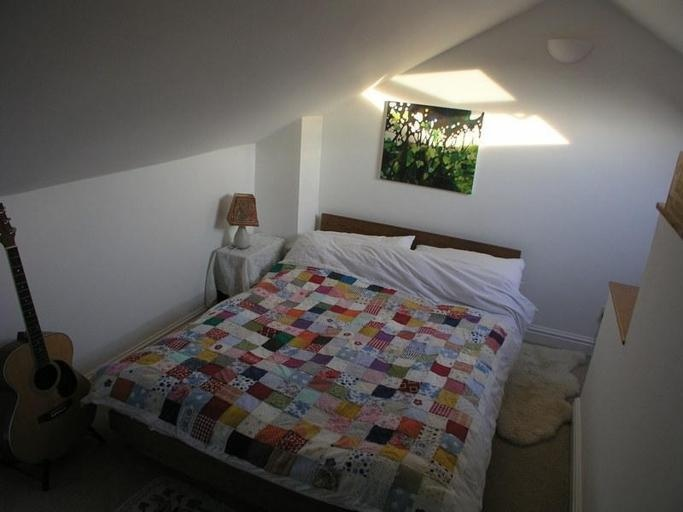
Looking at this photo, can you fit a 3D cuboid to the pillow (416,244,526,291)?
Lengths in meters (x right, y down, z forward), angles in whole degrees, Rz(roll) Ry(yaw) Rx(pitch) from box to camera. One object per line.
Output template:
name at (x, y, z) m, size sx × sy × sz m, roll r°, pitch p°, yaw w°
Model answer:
pillow at (1.086, 0.019, 3.797) m, size 0.570 × 0.153 × 0.393 m, roll 9°, pitch 27°, yaw 22°

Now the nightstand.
nightstand at (-0.856, 0.161, 4.208) m, size 0.441 × 0.438 × 0.639 m, roll 25°, pitch 34°, yaw 15°

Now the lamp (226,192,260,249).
lamp at (-0.859, -0.306, 4.024) m, size 0.299 × 0.490 × 0.304 m, roll 8°, pitch 24°, yaw 7°

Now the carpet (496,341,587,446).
carpet at (1.423, 0.962, 3.463) m, size 0.486 × 1.120 × 0.084 m, roll 9°, pitch 38°, yaw 17°
